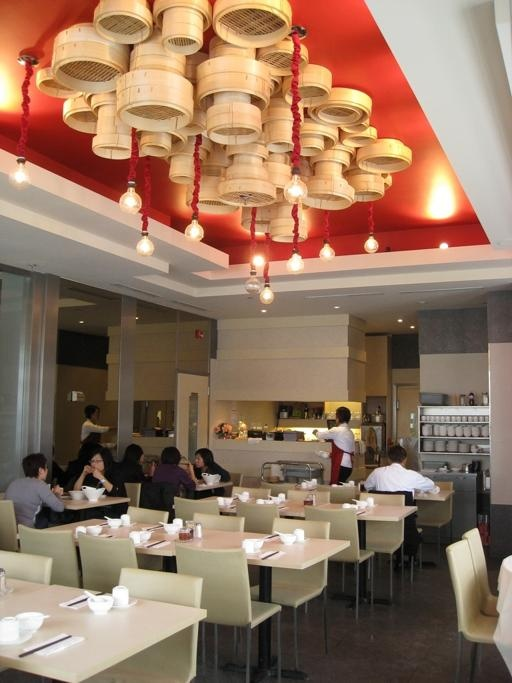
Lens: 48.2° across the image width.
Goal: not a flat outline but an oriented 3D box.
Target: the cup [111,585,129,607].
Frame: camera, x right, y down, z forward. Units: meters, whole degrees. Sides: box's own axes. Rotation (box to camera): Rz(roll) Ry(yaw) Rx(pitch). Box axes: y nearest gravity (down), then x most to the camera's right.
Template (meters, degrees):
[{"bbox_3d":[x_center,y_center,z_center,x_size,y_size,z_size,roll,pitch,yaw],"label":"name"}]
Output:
[{"bbox_3d":[-0.467,0.869,1.967,0.065,0.064,0.060,-1,-8,0],"label":"cup"}]

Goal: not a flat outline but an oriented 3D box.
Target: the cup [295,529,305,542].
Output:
[{"bbox_3d":[0.265,1.127,3.328,0.068,0.060,0.067,-1,-2,0],"label":"cup"}]

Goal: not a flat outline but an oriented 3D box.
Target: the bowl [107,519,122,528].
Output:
[{"bbox_3d":[-0.912,1.162,3.683,0.075,0.045,0.072,0,-12,0],"label":"bowl"}]

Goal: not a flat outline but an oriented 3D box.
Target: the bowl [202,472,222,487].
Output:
[{"bbox_3d":[-0.507,1.576,6.498,0.137,0.118,0.182,-3,-21,13],"label":"bowl"}]

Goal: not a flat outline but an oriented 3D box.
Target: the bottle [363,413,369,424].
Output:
[{"bbox_3d":[2.017,1.435,10.490,0.175,0.199,0.077,8,-12,-33],"label":"bottle"}]

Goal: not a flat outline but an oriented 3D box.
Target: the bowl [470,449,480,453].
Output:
[{"bbox_3d":[2.803,1.397,7.318,0.070,0.059,0.053,-3,-6,24],"label":"bowl"}]

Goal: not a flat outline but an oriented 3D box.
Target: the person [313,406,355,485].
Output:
[{"bbox_3d":[1.052,1.575,7.610,0.580,1.431,0.540,0,6,5],"label":"person"}]

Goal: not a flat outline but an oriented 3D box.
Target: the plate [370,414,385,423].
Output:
[{"bbox_3d":[2.227,1.424,10.489,0.240,0.172,0.108,0,-10,10],"label":"plate"}]

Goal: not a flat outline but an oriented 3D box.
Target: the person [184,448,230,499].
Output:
[{"bbox_3d":[-0.568,1.673,6.800,0.555,0.720,0.323,-8,-12,-11],"label":"person"}]

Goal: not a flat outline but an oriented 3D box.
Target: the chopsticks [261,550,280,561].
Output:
[{"bbox_3d":[0.068,1.075,2.868,0.028,0.007,0.166,-2,-3,22],"label":"chopsticks"}]

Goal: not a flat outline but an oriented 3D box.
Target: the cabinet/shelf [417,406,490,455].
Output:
[{"bbox_3d":[2.542,1.117,7.343,0.858,0.565,0.273,-1,-3,19],"label":"cabinet/shelf"}]

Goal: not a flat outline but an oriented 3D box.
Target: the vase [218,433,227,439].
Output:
[{"bbox_3d":[-0.540,1.493,9.038,0.128,0.113,0.066,1,-9,1],"label":"vase"}]

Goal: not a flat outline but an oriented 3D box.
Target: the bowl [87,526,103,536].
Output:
[{"bbox_3d":[-0.945,1.092,3.329,0.082,0.054,0.078,0,-14,0],"label":"bowl"}]

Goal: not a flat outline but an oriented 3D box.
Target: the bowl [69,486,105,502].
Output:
[{"bbox_3d":[-1.480,1.335,5.001,0.249,0.095,0.208,-9,-14,28],"label":"bowl"}]

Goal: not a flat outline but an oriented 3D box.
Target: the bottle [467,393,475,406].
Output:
[{"bbox_3d":[2.833,0.757,7.527,0.079,0.188,0.186,-2,-10,20],"label":"bottle"}]

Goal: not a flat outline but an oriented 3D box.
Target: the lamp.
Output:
[{"bbox_3d":[-0.156,-1.063,3.027,1.397,0.711,1.690,3,-10,4],"label":"lamp"}]

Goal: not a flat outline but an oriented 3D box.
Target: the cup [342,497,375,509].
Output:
[{"bbox_3d":[0.838,1.331,4.636,0.211,0.071,0.157,1,-3,-24],"label":"cup"}]

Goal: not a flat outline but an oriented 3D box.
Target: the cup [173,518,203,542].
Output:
[{"bbox_3d":[-0.405,1.101,3.344,0.160,0.108,0.109,-2,-3,7],"label":"cup"}]

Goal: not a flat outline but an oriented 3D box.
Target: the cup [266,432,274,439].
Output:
[{"bbox_3d":[0.208,1.451,8.682,0.115,0.121,0.210,2,-10,1],"label":"cup"}]

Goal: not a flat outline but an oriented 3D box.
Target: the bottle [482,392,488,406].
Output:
[{"bbox_3d":[2.984,0.750,7.465,0.065,0.189,0.218,-1,-10,17],"label":"bottle"}]

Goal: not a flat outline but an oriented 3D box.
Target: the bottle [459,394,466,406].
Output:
[{"bbox_3d":[2.740,0.774,7.602,0.076,0.149,0.105,-4,-11,28],"label":"bottle"}]

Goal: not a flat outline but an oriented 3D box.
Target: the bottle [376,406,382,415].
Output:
[{"bbox_3d":[2.258,1.273,10.511,0.096,0.187,0.096,2,-10,0],"label":"bottle"}]

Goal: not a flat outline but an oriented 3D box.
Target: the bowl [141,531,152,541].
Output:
[{"bbox_3d":[-0.629,1.102,3.251,0.056,0.038,0.055,-2,-6,0],"label":"bowl"}]

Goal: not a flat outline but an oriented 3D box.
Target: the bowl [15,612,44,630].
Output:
[{"bbox_3d":[-0.659,0.802,1.668,0.067,0.038,0.064,-1,-16,0],"label":"bowl"}]

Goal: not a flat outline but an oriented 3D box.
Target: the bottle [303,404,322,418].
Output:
[{"bbox_3d":[0.970,1.179,9.664,0.301,0.287,0.198,-1,-2,15],"label":"bottle"}]

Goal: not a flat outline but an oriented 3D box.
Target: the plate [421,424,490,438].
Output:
[{"bbox_3d":[2.563,1.156,7.393,0.814,0.177,0.157,-1,-10,14],"label":"plate"}]

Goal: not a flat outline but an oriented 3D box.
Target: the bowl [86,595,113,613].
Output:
[{"bbox_3d":[-0.518,0.857,1.885,0.067,0.040,0.064,2,-19,1],"label":"bowl"}]
